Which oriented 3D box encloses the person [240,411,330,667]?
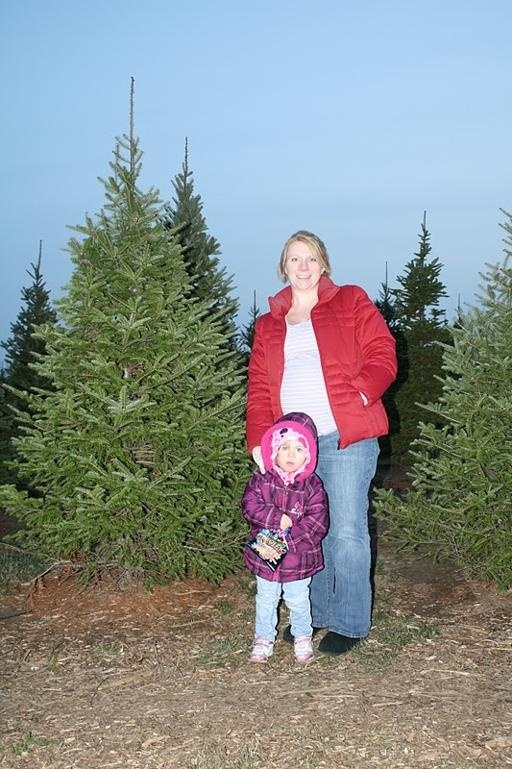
[{"bbox_3d":[0.176,0.951,4.072,0.522,1.546,0.421,-1,-1,8],"label":"person"}]

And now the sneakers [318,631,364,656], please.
[{"bbox_3d":[0.517,1.647,4.191,0.248,0.090,0.123,19,-27,-38],"label":"sneakers"}]

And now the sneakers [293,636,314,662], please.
[{"bbox_3d":[0.293,1.648,4.127,0.095,0.103,0.245,-2,-20,5],"label":"sneakers"}]
